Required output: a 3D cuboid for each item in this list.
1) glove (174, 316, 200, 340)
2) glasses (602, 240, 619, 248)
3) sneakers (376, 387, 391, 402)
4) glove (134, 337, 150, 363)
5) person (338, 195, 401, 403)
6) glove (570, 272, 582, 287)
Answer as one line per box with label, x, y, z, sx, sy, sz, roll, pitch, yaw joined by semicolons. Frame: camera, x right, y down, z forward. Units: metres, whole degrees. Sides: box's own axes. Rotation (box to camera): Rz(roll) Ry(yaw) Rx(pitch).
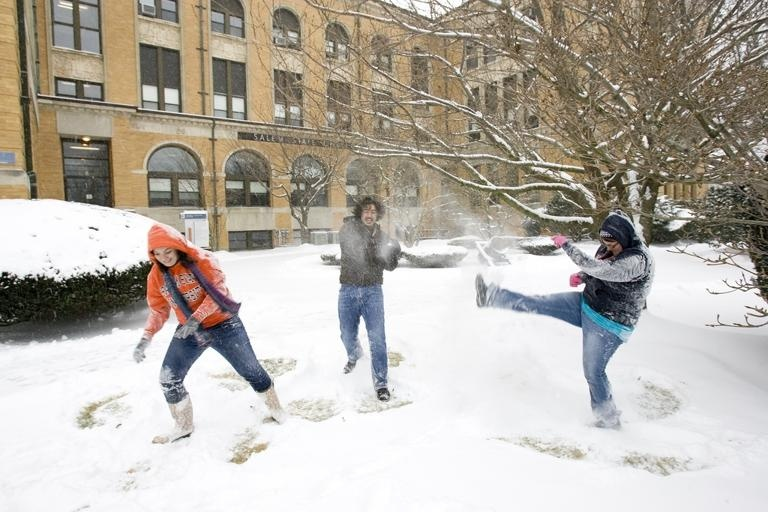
glove;-2.510;0.930;7.239;0.337;0.226;0.099;-30;-9;-17
glasses;2.941;-0.160;7.308;0.090;0.106;0.233;-8;9;-32
sneakers;0.012;1.993;8.182;0.234;0.190;0.207;-6;8;-20
glove;-3.191;1.233;7.388;0.198;0.342;0.194;-8;9;-33
person;-0.277;0.585;8.459;0.899;2.923;0.883;0;8;22
glove;2.577;0.317;7.622;0.227;0.175;0.160;-3;3;-23
